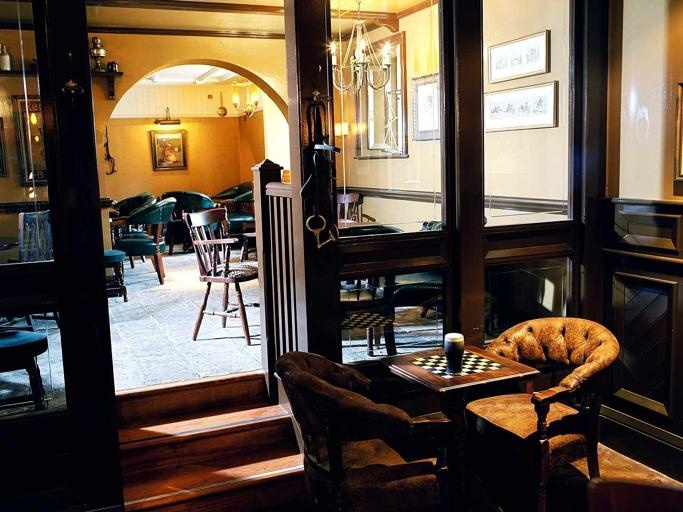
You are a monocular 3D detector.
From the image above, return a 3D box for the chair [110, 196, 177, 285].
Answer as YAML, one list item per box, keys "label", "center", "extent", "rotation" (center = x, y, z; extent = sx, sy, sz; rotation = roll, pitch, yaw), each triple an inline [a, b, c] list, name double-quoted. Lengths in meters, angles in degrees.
- label: "chair"
  center: [-2.849, -0.247, 7.819]
  extent: [0.797, 1.131, 0.917]
  rotation: [-2, 7, -15]

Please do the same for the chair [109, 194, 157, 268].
- label: "chair"
  center: [-2.952, -0.225, 7.909]
  extent: [0.887, 1.192, 0.961]
  rotation: [-3, 4, -21]

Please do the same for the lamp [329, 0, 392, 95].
- label: "lamp"
  center: [0.119, -1.201, 3.093]
  extent: [0.376, 0.500, 0.100]
  rotation: [-10, 11, -39]

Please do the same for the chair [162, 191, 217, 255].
- label: "chair"
  center: [-3.262, -0.645, 10.248]
  extent: [0.810, 1.015, 0.908]
  rotation: [22, 16, 38]

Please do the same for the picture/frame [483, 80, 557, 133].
- label: "picture/frame"
  center: [1.168, -0.965, 3.454]
  extent: [0.567, 0.306, 0.028]
  rotation: [-6, 9, -20]

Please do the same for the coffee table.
- label: "coffee table"
  center: [0.642, 0.724, 3.026]
  extent: [0.864, 0.825, 0.839]
  rotation: [-3, 3, -37]

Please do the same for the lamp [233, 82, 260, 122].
- label: "lamp"
  center: [-1.586, -2.636, 8.978]
  extent: [0.419, 0.562, 0.368]
  rotation: [-3, 15, 1]

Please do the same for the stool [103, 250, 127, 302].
- label: "stool"
  center: [-2.681, 0.221, 6.364]
  extent: [0.224, 0.565, 0.667]
  rotation: [-6, 10, -23]

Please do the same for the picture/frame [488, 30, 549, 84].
- label: "picture/frame"
  center: [1.136, -1.274, 3.410]
  extent: [0.458, 0.327, 0.023]
  rotation: [-6, 9, -19]

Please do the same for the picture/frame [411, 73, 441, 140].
- label: "picture/frame"
  center: [0.527, -0.914, 3.292]
  extent: [0.200, 0.403, 0.027]
  rotation: [7, 13, 43]

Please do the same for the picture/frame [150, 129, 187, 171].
- label: "picture/frame"
  center: [-3.831, -2.331, 11.733]
  extent: [0.866, 0.992, 0.075]
  rotation: [-6, 10, -35]

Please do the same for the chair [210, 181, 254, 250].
- label: "chair"
  center: [-1.784, -0.661, 9.814]
  extent: [1.007, 1.080, 0.951]
  rotation: [-10, 14, -29]
